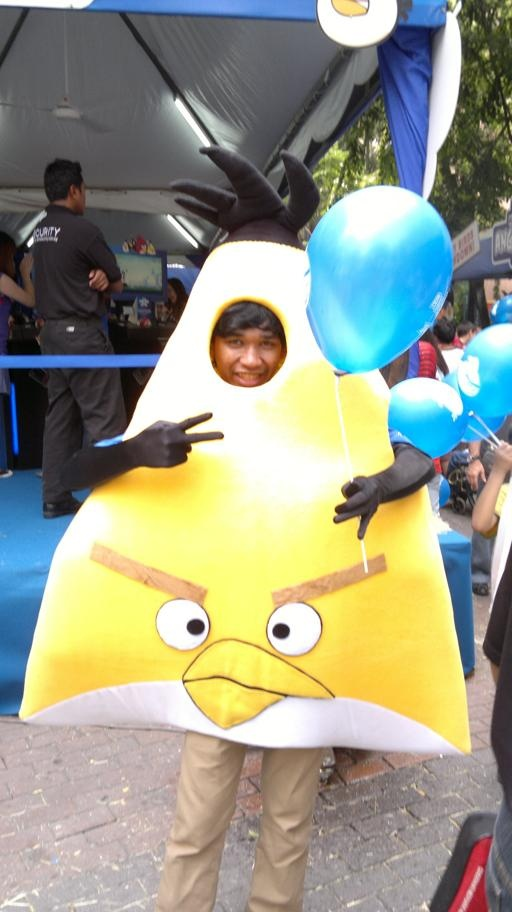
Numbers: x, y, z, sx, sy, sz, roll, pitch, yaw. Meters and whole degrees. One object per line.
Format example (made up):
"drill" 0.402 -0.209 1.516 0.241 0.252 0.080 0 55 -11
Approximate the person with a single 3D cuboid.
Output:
"person" -0.010 0.159 1.454 0.925 1.645 0.539 3 5 26
